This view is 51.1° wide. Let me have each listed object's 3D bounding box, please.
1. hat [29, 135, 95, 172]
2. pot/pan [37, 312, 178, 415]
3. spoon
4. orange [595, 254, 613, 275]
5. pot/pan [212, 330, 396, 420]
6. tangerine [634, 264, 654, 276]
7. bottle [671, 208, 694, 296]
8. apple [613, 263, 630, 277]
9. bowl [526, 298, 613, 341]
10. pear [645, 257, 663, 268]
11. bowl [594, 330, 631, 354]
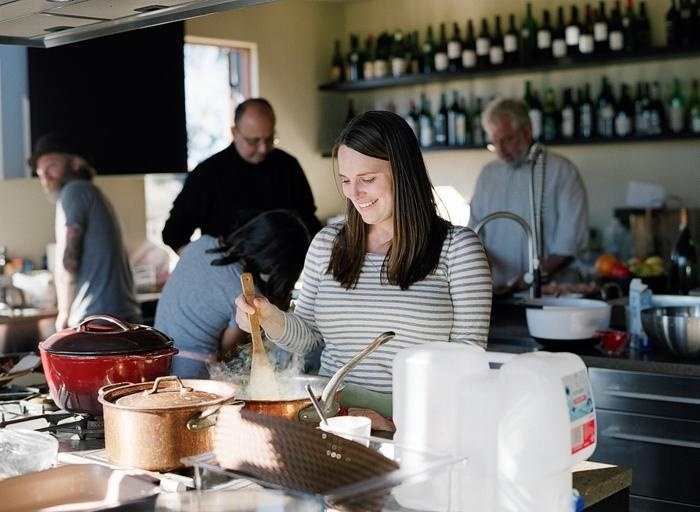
[{"bbox_3d":[-1.463,-0.527,3.704,0.297,0.186,0.099,-5,8,-22],"label":"hat"},{"bbox_3d":[-0.687,0.293,2.044,0.330,0.227,0.298,-1,4,-12],"label":"pot/pan"},{"bbox_3d":[-0.253,0.253,2.063,0.083,0.426,0.042,-7,-16,-12],"label":"spoon"},{"bbox_3d":[1.431,0.049,4.129,0.078,0.076,0.078,-41,32,8],"label":"orange"},{"bbox_3d":[-0.179,0.280,1.964,0.392,0.188,0.249,-2,-6,37],"label":"pot/pan"},{"bbox_3d":[1.554,0.073,3.889,0.085,0.062,0.047,1,8,20],"label":"tangerine"},{"bbox_3d":[1.632,0.018,3.581,0.115,0.359,0.220,1,8,25],"label":"bottle"},{"bbox_3d":[1.458,0.079,3.939,0.062,0.059,0.063,-23,10,4],"label":"apple"},{"bbox_3d":[0.970,0.271,3.264,0.348,0.149,0.377,-2,7,0],"label":"bowl"},{"bbox_3d":[1.639,0.032,3.956,0.077,0.045,0.060,8,-4,-32],"label":"pear"},{"bbox_3d":[1.104,0.361,3.129,0.116,0.087,0.110,2,-2,0],"label":"bowl"}]
